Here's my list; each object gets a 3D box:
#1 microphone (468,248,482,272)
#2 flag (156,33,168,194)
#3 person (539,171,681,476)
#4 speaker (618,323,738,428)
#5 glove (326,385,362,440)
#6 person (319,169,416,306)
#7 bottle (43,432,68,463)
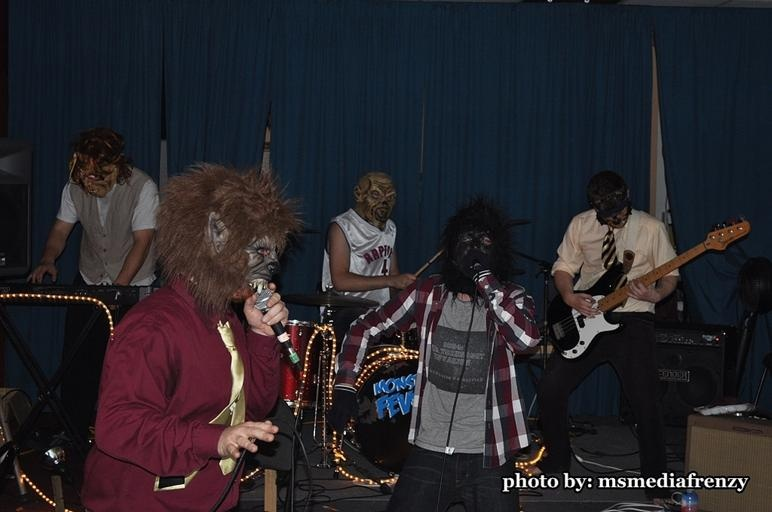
[{"bbox_3d":[0.566,0.016,4.742,0.086,0.126,0.040,-1,-3,10],"label":"microphone"},{"bbox_3d":[-2.383,-1.510,7.836,0.052,1.651,0.058,8,14,11],"label":"flag"},{"bbox_3d":[1.915,0.581,6.423,1.107,2.595,0.549,0,1,23],"label":"person"},{"bbox_3d":[2.906,1.306,7.515,0.979,1.191,0.517,3,-33,21],"label":"speaker"},{"bbox_3d":[-0.267,1.004,4.759,0.171,0.318,0.196,0,0,19],"label":"glove"},{"bbox_3d":[-0.102,-0.013,6.674,0.861,1.504,0.818,-1,3,-44],"label":"person"},{"bbox_3d":[-2.442,1.432,5.504,0.139,0.179,0.274,-1,-1,-20],"label":"bottle"}]
